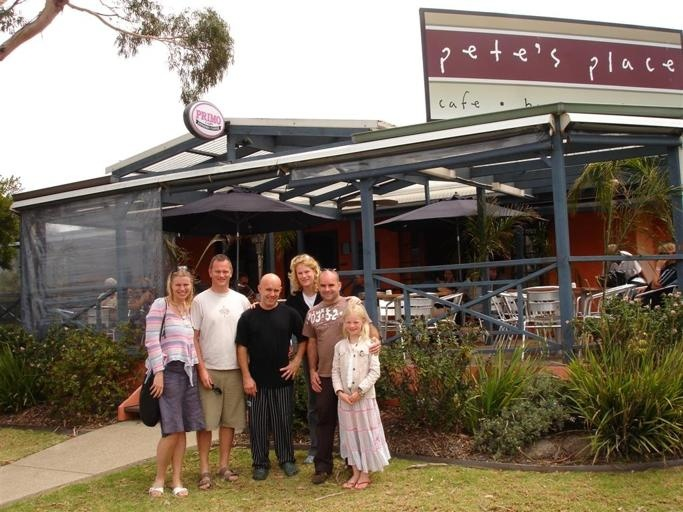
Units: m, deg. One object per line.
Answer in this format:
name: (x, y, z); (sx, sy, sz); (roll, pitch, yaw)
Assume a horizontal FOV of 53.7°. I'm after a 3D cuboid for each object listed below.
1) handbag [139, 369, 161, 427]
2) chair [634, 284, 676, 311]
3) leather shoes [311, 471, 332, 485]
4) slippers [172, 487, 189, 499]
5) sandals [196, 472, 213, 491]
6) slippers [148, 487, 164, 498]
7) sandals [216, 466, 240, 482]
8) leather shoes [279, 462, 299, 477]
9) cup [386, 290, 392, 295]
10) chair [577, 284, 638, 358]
handbag: (-1.948, 1.448, 6.902); (0.217, 0.563, 0.141); (-4, 7, -2)
chair: (4.441, 0.567, 9.602); (0.518, 0.681, 0.509); (1, 4, 24)
leather shoes: (-0.219, 2.293, 7.001); (0.071, 0.095, 0.221); (-1, -13, 16)
slippers: (-1.626, 2.362, 6.812); (0.179, 0.062, 0.174); (-5, 7, -6)
sandals: (-1.404, 2.297, 6.971); (0.149, 0.128, 0.194); (-5, 7, -11)
slippers: (-1.864, 2.376, 6.822); (0.082, 0.048, 0.194); (1, -3, -14)
sandals: (-1.208, 2.305, 7.172); (0.101, 0.073, 0.213); (2, -6, -38)
leather shoes: (-0.553, 2.271, 7.250); (0.098, 0.084, 0.204); (-2, -10, -25)
cup: (0.902, 0.669, 12.938); (0.095, 0.106, 0.108); (1, 3, 9)
chair: (3.402, 0.869, 8.687); (0.667, 0.879, 0.899); (12, 11, 19)
